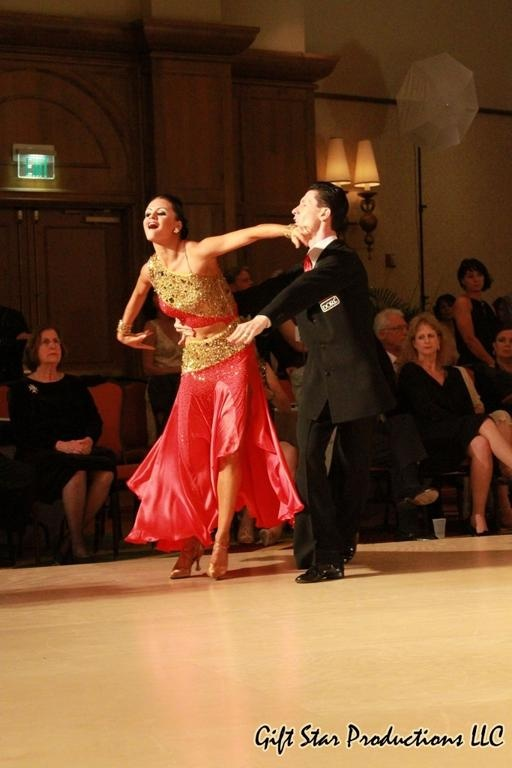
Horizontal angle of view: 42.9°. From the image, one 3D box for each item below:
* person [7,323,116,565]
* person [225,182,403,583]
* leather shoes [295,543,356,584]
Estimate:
[{"bbox_3d":[-1.190,0.322,4.042,0.605,1.334,0.827,-5,7,-21],"label":"person"},{"bbox_3d":[0.267,0.004,2.488,0.491,1.551,0.745,-1,7,19],"label":"person"},{"bbox_3d":[0.286,0.692,2.491,0.279,0.113,0.090,4,-8,-35],"label":"leather shoes"}]
